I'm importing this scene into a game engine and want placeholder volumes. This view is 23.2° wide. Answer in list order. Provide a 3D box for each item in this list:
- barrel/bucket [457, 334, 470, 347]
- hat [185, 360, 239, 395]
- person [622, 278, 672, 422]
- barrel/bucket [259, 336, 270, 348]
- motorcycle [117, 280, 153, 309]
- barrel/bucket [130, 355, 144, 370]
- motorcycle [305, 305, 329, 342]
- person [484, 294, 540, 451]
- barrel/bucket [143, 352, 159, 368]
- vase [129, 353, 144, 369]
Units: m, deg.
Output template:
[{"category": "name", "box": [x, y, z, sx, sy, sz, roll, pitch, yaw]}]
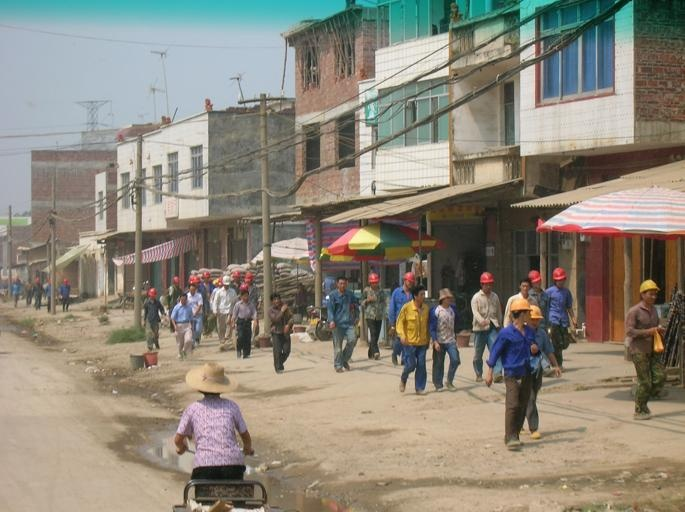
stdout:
[{"category": "barrel/bucket", "box": [3.549, 2.501, 48.742, 0.357, 0.272, 0.363, 0, -2, 0]}, {"category": "hat", "box": [-2.829, 2.611, 35.983, 0.919, 0.709, 0.916, 2, 2, -21]}, {"category": "person", "box": [7.312, 2.260, 40.051, 1.044, 3.327, 1.012, 5, -8, -34]}, {"category": "barrel/bucket", "box": [-2.314, 2.657, 50.896, 0.319, 0.245, 0.334, -2, -4, 0]}, {"category": "motorcycle", "box": [-8.349, 1.624, 68.360, 1.451, 0.872, 0.759, -19, 3, -34]}, {"category": "barrel/bucket", "box": [-5.860, 3.110, 48.403, 0.423, 0.426, 0.330, -2, 13, 1]}, {"category": "motorcycle", "box": [-0.691, 2.210, 52.984, 0.676, 1.032, 1.039, 1, -6, -3]}, {"category": "person", "box": [4.055, 2.757, 38.742, 0.954, 3.319, 0.908, -5, 13, -13]}, {"category": "barrel/bucket", "box": [-5.495, 3.057, 48.589, 0.377, 0.309, 0.394, 0, -11, 0]}, {"category": "vase", "box": [-5.919, 3.080, 48.482, 0.388, 0.400, 0.387, 0, 4, -33]}]
